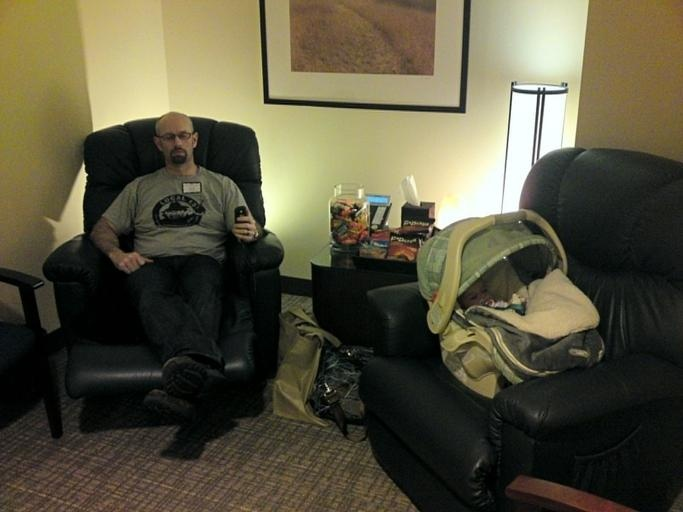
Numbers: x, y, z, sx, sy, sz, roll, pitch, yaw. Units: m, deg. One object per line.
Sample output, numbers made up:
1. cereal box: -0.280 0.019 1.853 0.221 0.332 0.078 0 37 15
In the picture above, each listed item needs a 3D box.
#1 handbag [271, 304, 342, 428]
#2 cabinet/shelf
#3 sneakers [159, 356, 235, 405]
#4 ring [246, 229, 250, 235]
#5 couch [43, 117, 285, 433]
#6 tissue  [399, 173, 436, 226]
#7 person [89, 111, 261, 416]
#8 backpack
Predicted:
1. handbag: -0.196 0.542 3.026 0.390 0.655 0.690 3 -18 8
2. cabinet/shelf: 0.119 0.153 3.073 0.480 0.484 0.484 3 22 9
3. sneakers: -0.604 0.524 2.376 0.291 0.168 0.121 14 5 -26
4. ring: -0.472 -0.121 2.829 0.017 0.017 0.017 6 -6 1
5. couch: -0.987 -0.094 3.073 1.372 1.651 1.451 -1 7 -2
6. tissue : 0.403 -0.310 3.039 0.270 0.342 0.203 1 20 9
7. person: -0.823 0.068 2.857 0.834 0.906 1.516 2 42 -12
8. backpack: 0.006 0.633 2.735 0.311 0.318 0.138 13 -21 13
